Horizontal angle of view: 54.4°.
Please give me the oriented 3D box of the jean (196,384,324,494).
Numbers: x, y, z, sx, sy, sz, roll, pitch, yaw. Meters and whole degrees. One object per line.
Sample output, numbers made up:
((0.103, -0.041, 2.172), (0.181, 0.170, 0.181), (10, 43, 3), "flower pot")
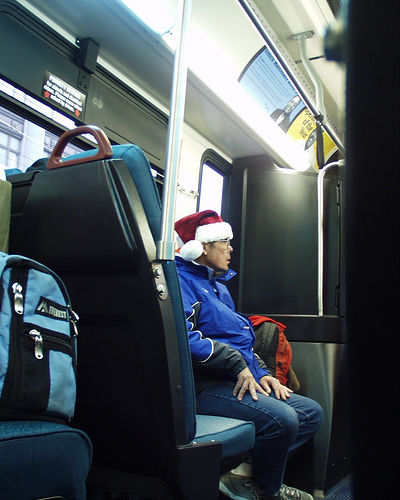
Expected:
((0.363, 0.898, 2.279), (0.620, 0.808, 0.691), (-9, -15, 23), "jean")

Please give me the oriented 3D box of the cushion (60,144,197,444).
((-0.247, 0.133, 1.482), (0.473, 1.122, 0.124), (-1, -3, 14), "cushion")
